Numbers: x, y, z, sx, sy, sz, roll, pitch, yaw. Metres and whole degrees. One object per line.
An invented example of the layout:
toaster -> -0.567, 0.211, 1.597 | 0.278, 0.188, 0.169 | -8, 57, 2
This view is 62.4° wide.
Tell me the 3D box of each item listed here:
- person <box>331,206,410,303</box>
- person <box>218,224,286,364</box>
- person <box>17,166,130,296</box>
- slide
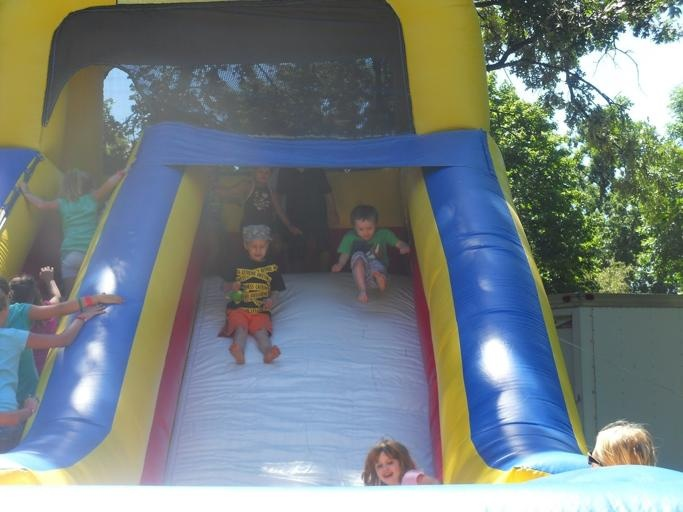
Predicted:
person -> 0.211, -0.077, 4.867 | 0.609, 0.854, 0.770 | -1, 2, -2
person -> -0.664, 0.253, 4.259 | 0.432, 0.601, 1.017 | 5, 36, -11
person -> -2.091, -0.179, 4.352 | 0.859, 1.287, 0.313 | -8, -25, 1
slide -> -0.455, 0.322, 3.917 | 2.148, 0.720, 2.556 | 0, 23, 3
